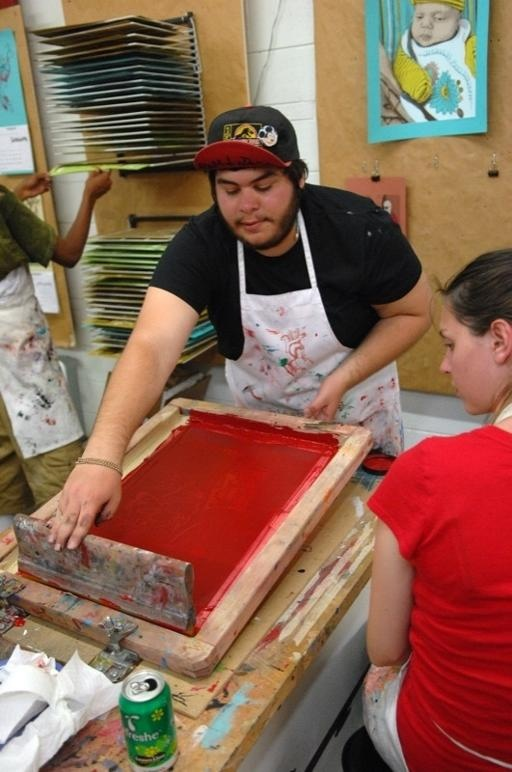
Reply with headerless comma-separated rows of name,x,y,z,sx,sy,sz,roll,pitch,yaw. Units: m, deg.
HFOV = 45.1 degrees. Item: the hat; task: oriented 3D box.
hat,-0.020,-0.568,1.440,0.151,0.117,0.216,17,13,39
